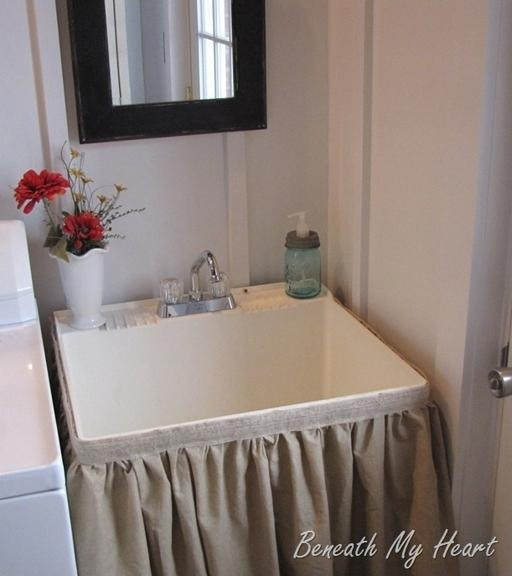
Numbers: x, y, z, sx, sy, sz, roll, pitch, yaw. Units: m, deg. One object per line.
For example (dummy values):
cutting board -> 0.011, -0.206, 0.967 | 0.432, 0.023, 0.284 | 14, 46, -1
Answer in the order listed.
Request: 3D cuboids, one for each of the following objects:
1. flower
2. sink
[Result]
flower -> -0.453, -0.192, 1.278 | 0.235, 0.270, 0.184 | 2, 10, -21
sink -> -0.098, 0.217, 1.372 | 0.853, 0.384, 0.495 | -8, 17, -2
